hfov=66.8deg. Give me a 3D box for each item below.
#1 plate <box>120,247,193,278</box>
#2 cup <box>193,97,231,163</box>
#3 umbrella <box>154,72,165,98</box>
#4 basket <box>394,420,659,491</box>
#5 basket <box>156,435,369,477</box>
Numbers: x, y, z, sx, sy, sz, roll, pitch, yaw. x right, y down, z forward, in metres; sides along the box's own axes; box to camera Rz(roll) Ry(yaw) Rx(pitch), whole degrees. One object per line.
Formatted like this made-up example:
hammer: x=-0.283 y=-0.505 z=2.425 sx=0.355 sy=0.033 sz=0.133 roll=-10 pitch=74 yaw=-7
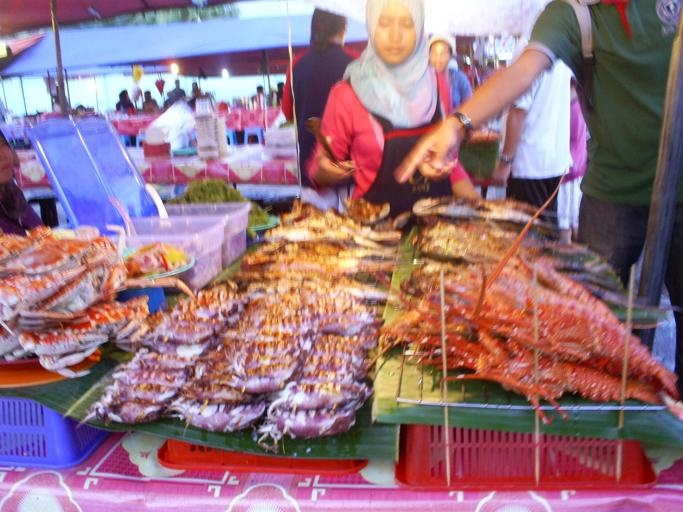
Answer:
plate: x=-0.589 y=-0.006 z=1.684 sx=0.168 sy=0.091 sz=0.245 roll=8 pitch=11 yaw=33
cup: x=-0.735 y=-0.711 z=2.918 sx=0.086 sy=0.348 sz=0.153 roll=3 pitch=13 yaw=15
umbrella: x=-0.996 y=-0.940 z=2.852 sx=0.061 sy=0.152 sz=0.071 roll=6 pitch=14 yaw=32
basket: x=0.420 y=0.459 z=1.180 sx=0.592 sy=0.174 sz=0.150 roll=-2 pitch=22 yaw=9
basket: x=-0.197 y=0.483 z=1.241 sx=0.512 sy=0.086 sz=0.068 roll=-2 pitch=22 yaw=9
